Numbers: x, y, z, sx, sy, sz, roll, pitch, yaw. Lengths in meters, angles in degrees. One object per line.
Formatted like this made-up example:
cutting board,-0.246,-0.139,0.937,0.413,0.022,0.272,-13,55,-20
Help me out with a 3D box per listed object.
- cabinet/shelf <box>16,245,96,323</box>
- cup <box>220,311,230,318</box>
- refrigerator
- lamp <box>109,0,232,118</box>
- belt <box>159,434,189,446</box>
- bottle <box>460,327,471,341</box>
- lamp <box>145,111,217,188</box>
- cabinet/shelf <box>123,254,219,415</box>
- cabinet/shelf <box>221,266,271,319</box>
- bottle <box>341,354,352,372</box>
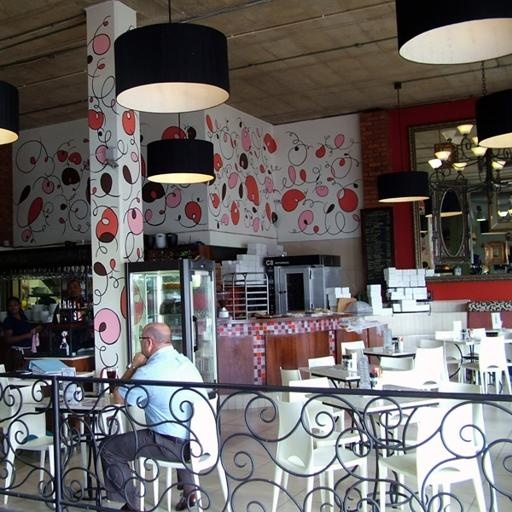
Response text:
cabinet/shelf,-3.162,0.427,8.840,1.148,1.071,0.417,0,2,28
cup,-0.449,0.817,7.991,0.105,0.128,0.106,0,1,0
refrigerator,-0.868,0.851,6.194,0.674,1.713,0.926,-3,0,19
lamp,-0.520,-1.132,3.296,0.673,0.348,0.675,-17,6,-36
belt,-0.501,1.146,3.423,0.203,0.066,0.056,-3,-5,21
bottle,2.900,1.086,7.698,0.117,0.174,0.122,0,4,0
lamp,-0.797,-1.114,5.856,0.698,0.451,0.572,-1,-4,-6
cabinet/shelf,-0.885,0.857,6.165,0.839,1.721,0.993,-5,-4,25
cabinet/shelf,-0.212,0.600,9.520,0.838,0.852,0.267,2,-5,-43
bottle,0.839,0.971,5.058,0.099,0.121,0.104,4,-5,-34
